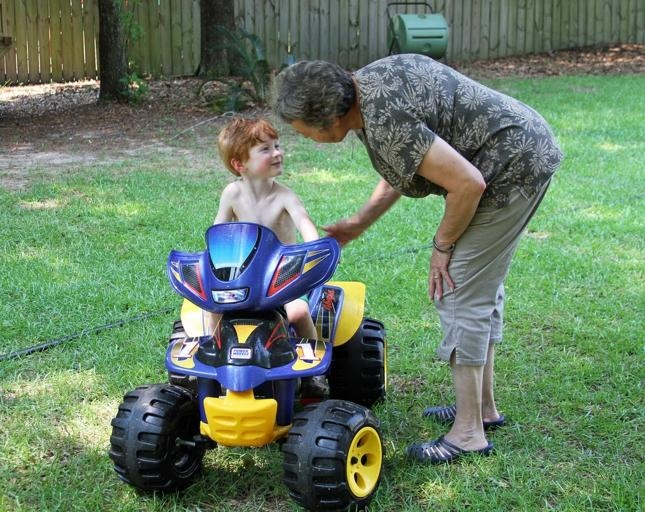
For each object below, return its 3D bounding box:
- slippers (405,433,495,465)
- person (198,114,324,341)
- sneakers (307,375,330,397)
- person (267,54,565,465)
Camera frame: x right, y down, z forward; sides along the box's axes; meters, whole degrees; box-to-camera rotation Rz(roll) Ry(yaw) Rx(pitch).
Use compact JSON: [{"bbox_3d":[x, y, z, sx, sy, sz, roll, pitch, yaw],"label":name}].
[{"bbox_3d":[0.637,0.948,3.730,0.371,0.109,0.163,1,0,-5],"label":"slippers"},{"bbox_3d":[-0.299,-0.075,3.898,0.629,1.266,0.665,8,21,18],"label":"person"},{"bbox_3d":[-0.020,0.674,3.887,0.137,0.135,0.140,0,16,-4],"label":"sneakers"},{"bbox_3d":[0.506,0.017,3.777,1.313,1.967,0.918,-4,10,6],"label":"person"}]
